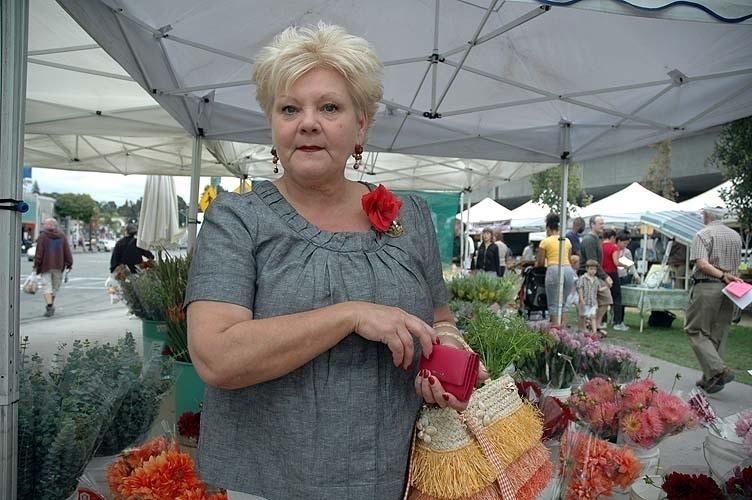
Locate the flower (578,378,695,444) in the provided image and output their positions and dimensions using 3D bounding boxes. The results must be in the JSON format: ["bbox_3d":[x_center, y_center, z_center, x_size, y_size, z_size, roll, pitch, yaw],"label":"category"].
[{"bbox_3d":[1.570,0.982,2.879,0.709,0.368,0.359,2,2,27],"label":"flower"}]

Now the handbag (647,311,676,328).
[{"bbox_3d":[6.033,1.441,9.840,0.394,0.314,0.405,6,1,-22],"label":"handbag"}]

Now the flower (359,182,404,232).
[{"bbox_3d":[0.017,-0.146,1.852,0.157,0.179,0.088,-16,-3,-25],"label":"flower"}]

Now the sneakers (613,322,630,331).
[{"bbox_3d":[4.912,1.529,9.319,0.322,0.163,0.142,0,2,-28],"label":"sneakers"}]

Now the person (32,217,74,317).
[{"bbox_3d":[-6.180,0.158,8.977,0.578,2.042,0.619,14,17,5],"label":"person"}]

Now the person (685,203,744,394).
[{"bbox_3d":[4.299,0.596,5.996,0.873,2.422,0.801,0,0,-30],"label":"person"}]

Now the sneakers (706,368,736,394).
[{"bbox_3d":[4.190,1.579,5.689,0.112,0.323,0.145,26,41,0],"label":"sneakers"}]

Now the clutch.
[{"bbox_3d":[0.276,0.430,1.727,0.197,0.206,0.075,17,-4,14],"label":"clutch"}]
